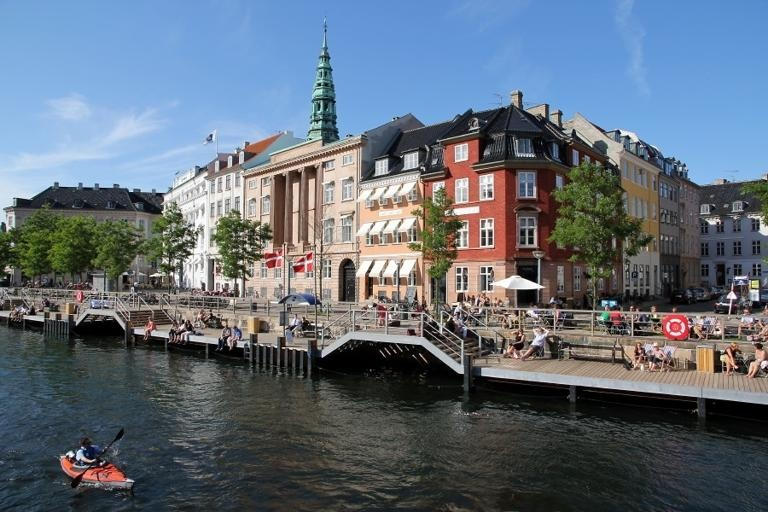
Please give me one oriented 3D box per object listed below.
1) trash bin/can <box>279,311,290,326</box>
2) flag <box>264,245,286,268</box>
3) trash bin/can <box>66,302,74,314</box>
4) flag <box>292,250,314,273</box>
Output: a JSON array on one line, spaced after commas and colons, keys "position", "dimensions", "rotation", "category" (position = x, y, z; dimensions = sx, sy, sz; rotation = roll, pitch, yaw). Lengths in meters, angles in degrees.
[{"position": [-7.753, 4.847, 60.459], "dimensions": [1.028, 1.357, 0.995], "rotation": [-1, -3, 2], "category": "trash bin/can"}, {"position": [-11.283, 0.120, 80.620], "dimensions": [0.283, 1.890, 2.576], "rotation": [17, -19, -36], "category": "flag"}, {"position": [-30.451, 5.079, 75.398], "dimensions": [0.893, 1.102, 1.162], "rotation": [-2, -4, 17], "category": "trash bin/can"}, {"position": [-7.456, 0.598, 72.171], "dimensions": [2.619, 2.213, 0.293], "rotation": [2, 2, 28], "category": "flag"}]
